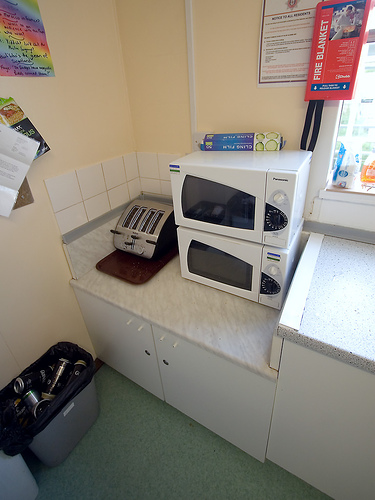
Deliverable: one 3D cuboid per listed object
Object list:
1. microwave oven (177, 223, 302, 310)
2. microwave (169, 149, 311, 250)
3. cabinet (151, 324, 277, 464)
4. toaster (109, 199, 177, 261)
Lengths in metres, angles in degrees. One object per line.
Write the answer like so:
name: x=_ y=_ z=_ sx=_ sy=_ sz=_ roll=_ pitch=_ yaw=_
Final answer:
microwave oven: x=0.211 y=-0.020 z=1.384 sx=0.429 sy=0.278 sz=0.346 roll=11 pitch=43 yaw=20
microwave: x=0.192 y=-0.215 z=1.261 sx=0.470 sy=0.279 sz=0.262 roll=15 pitch=33 yaw=29
cabinet: x=0.108 y=0.538 z=1.268 sx=0.439 sy=0.454 sz=0.296 roll=18 pitch=41 yaw=30
toaster: x=-0.213 y=-0.108 z=1.654 sx=0.316 sy=0.216 sz=0.208 roll=18 pitch=35 yaw=34
